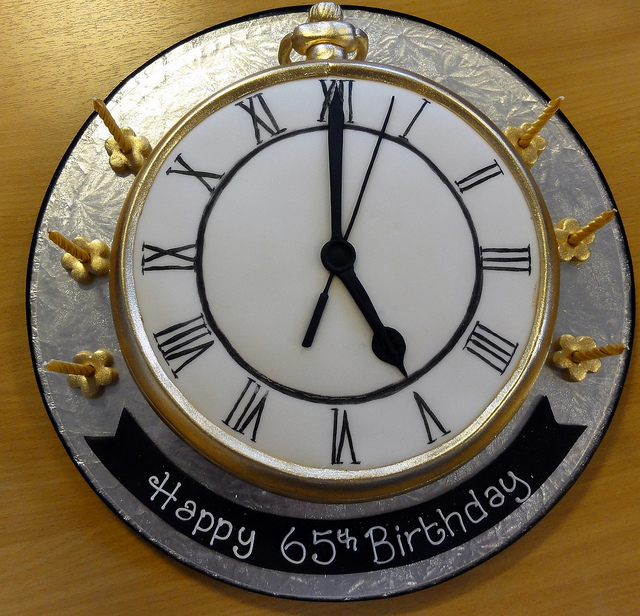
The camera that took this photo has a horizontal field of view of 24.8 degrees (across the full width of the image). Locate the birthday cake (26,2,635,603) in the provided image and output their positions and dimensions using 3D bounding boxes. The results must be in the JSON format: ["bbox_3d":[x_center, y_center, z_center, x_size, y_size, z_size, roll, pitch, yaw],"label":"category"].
[{"bbox_3d":[0.015,-0.027,2.116,0.895,0.200,0.897,-21,85,-1],"label":"birthday cake"}]

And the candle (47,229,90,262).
[{"bbox_3d":[-0.365,-0.089,2.126,0.015,0.083,0.015,24,87,13],"label":"candle"}]

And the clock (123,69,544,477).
[{"bbox_3d":[0.043,-0.021,2.167,0.756,0.182,0.775,-3,38,29],"label":"clock"}]
